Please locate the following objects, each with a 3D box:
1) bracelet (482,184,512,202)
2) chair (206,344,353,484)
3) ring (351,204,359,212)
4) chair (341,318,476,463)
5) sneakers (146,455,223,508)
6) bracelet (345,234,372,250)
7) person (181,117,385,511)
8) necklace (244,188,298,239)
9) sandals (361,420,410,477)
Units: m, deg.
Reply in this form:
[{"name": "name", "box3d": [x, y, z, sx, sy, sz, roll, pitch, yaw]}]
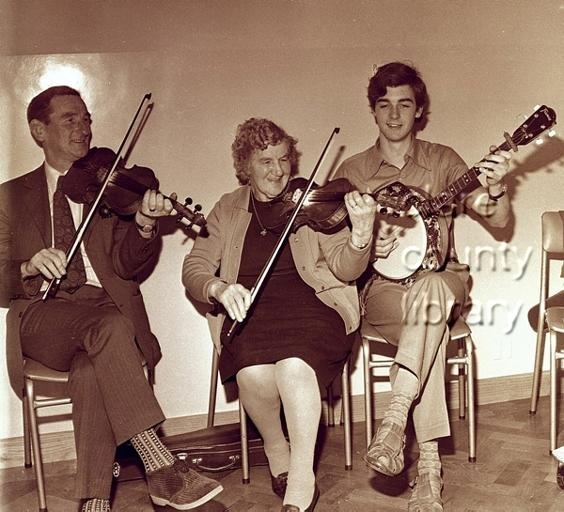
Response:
[{"name": "bracelet", "box3d": [0.891, -0.266, 2.460, 0.117, 0.051, 0.177, 1, 10, 21]}, {"name": "chair", "box3d": [0.008, 0.633, 2.516, 0.436, 0.588, 0.601, 0, -6, -3]}, {"name": "ring", "box3d": [0.251, -0.168, 2.028, 0.014, 0.017, 0.015, 14, 4, -1]}, {"name": "chair", "box3d": [0.473, 0.545, 2.585, 0.481, 0.951, 0.634, -1, -5, -2]}, {"name": "sneakers", "box3d": [-0.336, 0.735, 1.989, 0.262, 0.138, 0.132, -12, 15, 34]}, {"name": "bracelet", "box3d": [0.286, -0.056, 2.099, 0.057, 0.055, 0.060, -1, 2, 2]}, {"name": "person", "box3d": [-0.025, 0.162, 2.230, 0.547, 1.211, 0.770, 3, -1, -45]}, {"name": "necklace", "box3d": [-0.039, -0.162, 2.297, 0.108, 0.216, 0.057, 20, -25, 14]}, {"name": "sandals", "box3d": [0.334, 0.606, 1.876, 0.097, 0.095, 0.202, 23, 3, 8]}]
